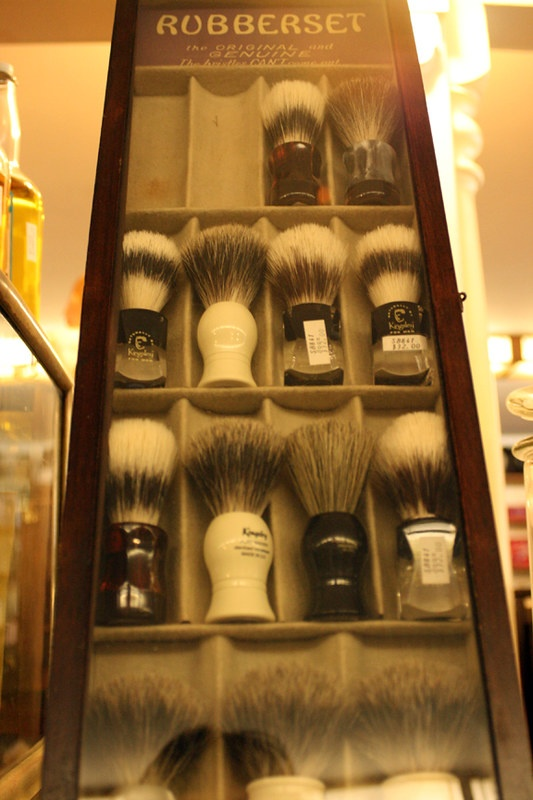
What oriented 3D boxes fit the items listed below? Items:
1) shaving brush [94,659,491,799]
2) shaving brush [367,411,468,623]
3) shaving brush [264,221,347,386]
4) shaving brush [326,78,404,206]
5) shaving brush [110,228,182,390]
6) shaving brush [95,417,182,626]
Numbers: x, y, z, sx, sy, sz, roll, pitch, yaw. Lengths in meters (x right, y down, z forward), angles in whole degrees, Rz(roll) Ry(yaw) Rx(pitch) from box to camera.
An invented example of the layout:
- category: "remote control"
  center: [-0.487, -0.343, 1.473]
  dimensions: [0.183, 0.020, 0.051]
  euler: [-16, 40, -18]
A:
- category: "shaving brush"
  center: [0.017, 0.225, 0.508]
  dimensions: [0.263, 0.139, 0.097]
  euler: [-1, -14, 2]
- category: "shaving brush"
  center: [0.116, 0.085, 0.524]
  dimensions: [0.057, 0.172, 0.072]
  euler: [-6, -19, 8]
- category: "shaving brush"
  center: [0.043, -0.098, 0.686]
  dimensions: [0.084, 0.188, 0.088]
  euler: [5, -16, -19]
- category: "shaving brush"
  center: [0.107, -0.300, 0.766]
  dimensions: [0.075, 0.159, 0.088]
  euler: [0, -10, -20]
- category: "shaving brush"
  center: [-0.116, -0.088, 0.634]
  dimensions: [0.062, 0.146, 0.062]
  euler: [4, -1, -1]
- category: "shaving brush"
  center: [-0.098, 0.084, 0.516]
  dimensions: [0.038, 0.171, 0.099]
  euler: [-6, -19, 8]
